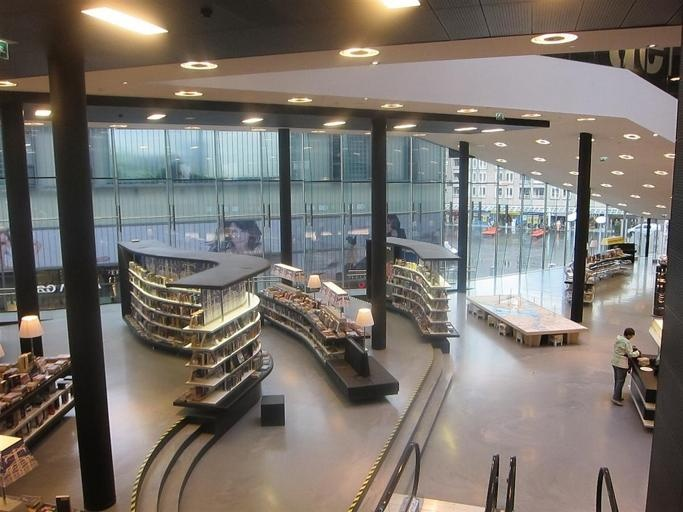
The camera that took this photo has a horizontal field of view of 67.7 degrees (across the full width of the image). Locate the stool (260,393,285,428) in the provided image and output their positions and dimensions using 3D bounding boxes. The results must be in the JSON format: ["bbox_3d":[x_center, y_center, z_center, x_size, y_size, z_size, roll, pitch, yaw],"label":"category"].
[{"bbox_3d":[-1.225,2.760,9.177,0.450,0.449,0.456,-1,10,-4],"label":"stool"}]

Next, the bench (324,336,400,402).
[{"bbox_3d":[0.325,2.334,10.899,1.176,0.972,2.001,-2,8,-15],"label":"bench"}]

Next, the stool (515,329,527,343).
[{"bbox_3d":[4.869,2.212,14.034,0.174,0.322,0.436,0,-2,-3],"label":"stool"}]

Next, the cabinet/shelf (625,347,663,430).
[{"bbox_3d":[6.131,2.696,10.033,0.645,0.842,2.001,-3,4,21],"label":"cabinet/shelf"}]

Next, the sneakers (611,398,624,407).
[{"bbox_3d":[5.526,2.938,10.227,0.222,0.099,0.083,2,1,7],"label":"sneakers"}]

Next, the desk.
[{"bbox_3d":[5.355,1.842,14.857,1.297,0.454,2.605,-2,5,-13],"label":"desk"}]

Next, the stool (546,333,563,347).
[{"bbox_3d":[5.748,2.239,13.740,0.324,0.324,0.330,-1,1,0],"label":"stool"}]
